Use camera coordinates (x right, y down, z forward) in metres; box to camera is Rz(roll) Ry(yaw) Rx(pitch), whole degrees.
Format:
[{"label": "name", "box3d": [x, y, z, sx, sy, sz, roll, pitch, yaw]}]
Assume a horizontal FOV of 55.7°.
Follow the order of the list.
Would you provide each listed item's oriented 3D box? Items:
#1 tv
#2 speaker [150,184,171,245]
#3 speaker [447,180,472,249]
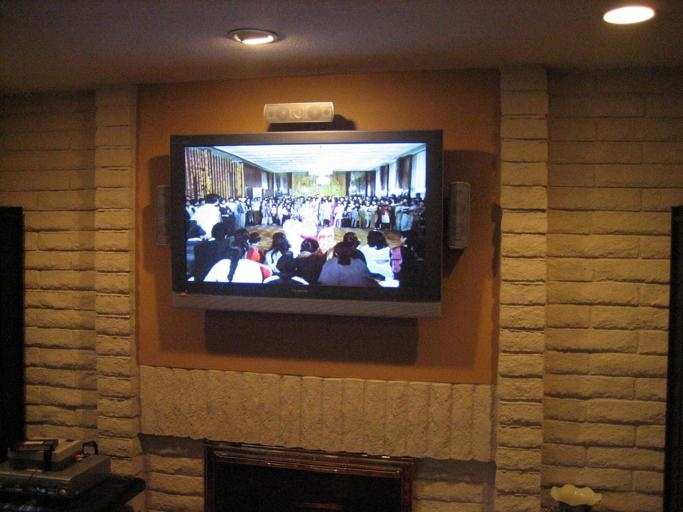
[{"label": "tv", "box3d": [-0.153, -0.198, 3.552, 1.224, 0.725, 0.119, 1, 6, 9]}, {"label": "speaker", "box3d": [-1.039, -0.234, 3.705, 0.081, 0.329, 0.020, 3, 1, 3]}, {"label": "speaker", "box3d": [0.641, -0.221, 3.531, 0.121, 0.272, 0.092, 3, 1, 5]}]
